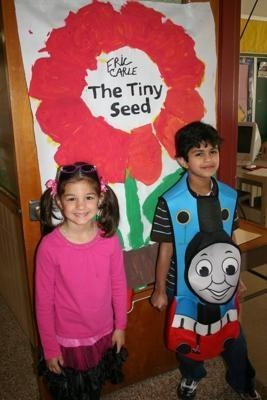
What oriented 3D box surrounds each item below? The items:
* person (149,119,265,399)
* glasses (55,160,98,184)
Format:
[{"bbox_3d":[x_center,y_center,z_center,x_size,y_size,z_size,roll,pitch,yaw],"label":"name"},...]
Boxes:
[{"bbox_3d":[0.282,0.303,1.249,0.435,1.174,0.301,-4,17,1],"label":"person"},{"bbox_3d":[-0.174,-0.079,0.965,0.132,0.060,0.072,-8,18,-10],"label":"glasses"}]
